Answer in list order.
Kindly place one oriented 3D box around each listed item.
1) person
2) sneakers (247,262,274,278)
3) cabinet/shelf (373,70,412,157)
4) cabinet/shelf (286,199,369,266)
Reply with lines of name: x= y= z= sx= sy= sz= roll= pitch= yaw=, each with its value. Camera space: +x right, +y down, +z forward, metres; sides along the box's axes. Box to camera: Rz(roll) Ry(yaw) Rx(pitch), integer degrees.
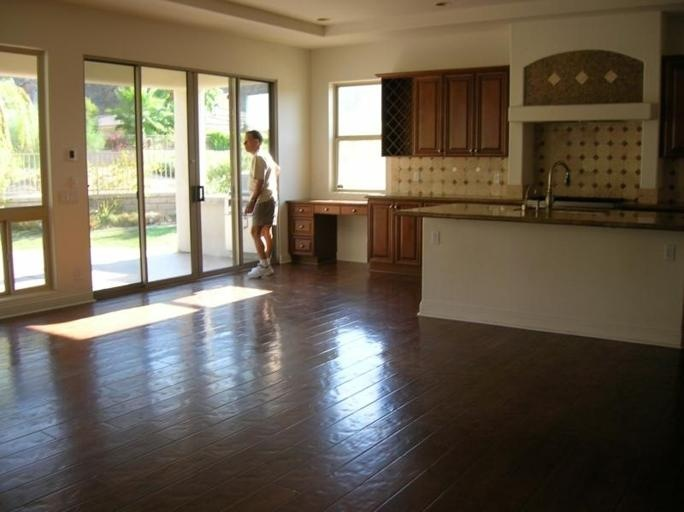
person: x=-1.197 y=-0.793 z=7.579 sx=0.495 sy=2.150 sz=0.983 roll=-2 pitch=11 yaw=-4
sneakers: x=-1.208 y=0.216 z=7.545 sx=0.439 sy=0.235 sz=0.178 roll=-3 pitch=3 yaw=-2
cabinet/shelf: x=0.878 y=-2.209 z=7.938 sx=0.486 sy=1.203 sz=0.198 roll=2 pitch=11 yaw=19
cabinet/shelf: x=-0.260 y=-0.427 z=8.627 sx=1.290 sy=1.084 sz=0.592 roll=5 pitch=13 yaw=27
